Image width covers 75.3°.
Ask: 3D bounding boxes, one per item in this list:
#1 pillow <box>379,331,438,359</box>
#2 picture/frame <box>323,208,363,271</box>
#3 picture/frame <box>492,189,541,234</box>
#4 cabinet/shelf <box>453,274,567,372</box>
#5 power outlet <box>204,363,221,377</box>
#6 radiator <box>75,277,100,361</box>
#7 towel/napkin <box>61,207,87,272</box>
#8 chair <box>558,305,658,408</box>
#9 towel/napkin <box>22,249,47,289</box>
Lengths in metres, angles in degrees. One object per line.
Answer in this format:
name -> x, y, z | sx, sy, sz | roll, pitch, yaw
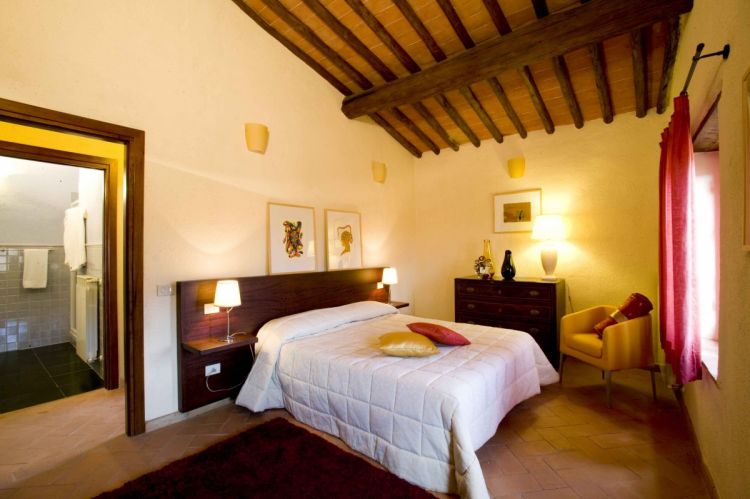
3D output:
pillow -> 0.324, 0.954, 4.907 | 0.334, 0.129, 0.337 | 3, 0, 26
picture/frame -> -0.470, -0.141, 6.748 | 0.102, 0.978, 0.897 | 3, 5, 43
picture/frame -> 2.069, -0.547, 7.130 | 0.675, 0.590, 0.028 | -1, -3, 36
cabinet/shelf -> 1.714, 0.897, 5.964 | 1.301, 1.149, 0.513 | 0, -1, 37
power outlet -> -1.824, 1.334, 5.454 | 0.020, 0.109, 0.190 | 5, 5, 41
radiator -> -3.930, 0.936, 6.682 | 0.177, 1.168, 0.909 | 0, -1, -39
towel/napkin -> -4.362, -0.180, 7.050 | 0.820, 0.860, 0.094 | 1, 0, 38
chair -> 2.807, 1.193, 6.014 | 1.063, 1.136, 1.126 | 1, -2, -20
towel/napkin -> -4.882, 0.276, 7.053 | 0.335, 0.587, 0.070 | 0, -4, -6
